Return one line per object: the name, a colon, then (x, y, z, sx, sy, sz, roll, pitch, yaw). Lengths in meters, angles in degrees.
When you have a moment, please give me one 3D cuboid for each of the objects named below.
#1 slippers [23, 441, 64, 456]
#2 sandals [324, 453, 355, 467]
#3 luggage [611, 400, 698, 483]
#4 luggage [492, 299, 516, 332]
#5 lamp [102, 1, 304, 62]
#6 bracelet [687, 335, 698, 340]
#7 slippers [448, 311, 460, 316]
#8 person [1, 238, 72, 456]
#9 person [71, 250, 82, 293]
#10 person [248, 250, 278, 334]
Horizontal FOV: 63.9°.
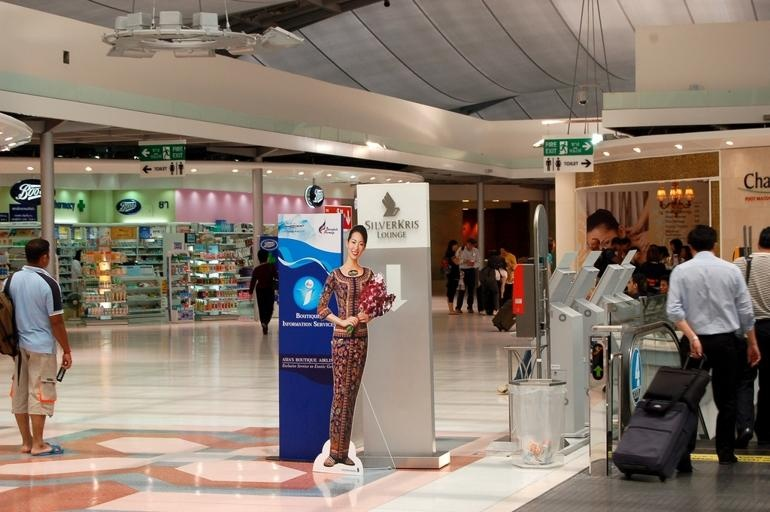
slippers: (-3.112, 1.787, 5.658, 0.233, 0.063, 0.134, -1, 0, -20)
sandals: (-0.378, 1.681, 5.065, 0.212, 0.074, 0.111, 6, -7, -2)
luggage: (2.125, 1.411, 4.819, 0.327, 0.605, 0.458, 45, -24, -28)
luggage: (2.562, 1.323, 13.329, 0.394, 0.753, 0.799, 0, 3, 9)
lamp: (-3.099, -3.618, 10.036, 2.886, 0.509, 1.598, -1, 3, -11)
bracelet: (2.487, 0.660, 4.967, 0.043, 0.028, 0.039, 1, 3, -1)
slippers: (2.032, 1.675, 17.929, 0.108, 0.189, 0.300, 11, -19, -37)
person: (-3.222, 0.853, 5.740, 0.540, 2.006, 0.761, -2, 3, -27)
person: (-8.928, 0.472, 17.915, 0.297, 1.255, 0.625, -2, 3, -25)
person: (-2.972, 0.894, 15.130, 0.620, 1.991, 1.204, -1, 3, -12)
